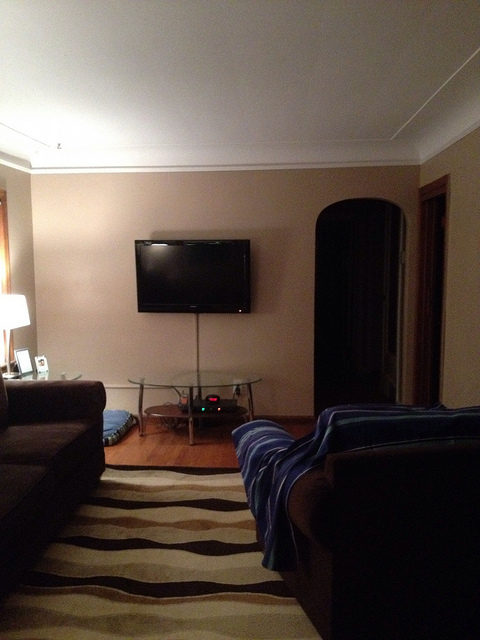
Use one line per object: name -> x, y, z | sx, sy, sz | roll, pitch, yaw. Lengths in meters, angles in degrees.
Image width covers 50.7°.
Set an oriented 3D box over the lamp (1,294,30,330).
lamp -> -1.588, -0.057, 3.550 | 0.158, 0.318, 0.160 | -14, 25, -41
